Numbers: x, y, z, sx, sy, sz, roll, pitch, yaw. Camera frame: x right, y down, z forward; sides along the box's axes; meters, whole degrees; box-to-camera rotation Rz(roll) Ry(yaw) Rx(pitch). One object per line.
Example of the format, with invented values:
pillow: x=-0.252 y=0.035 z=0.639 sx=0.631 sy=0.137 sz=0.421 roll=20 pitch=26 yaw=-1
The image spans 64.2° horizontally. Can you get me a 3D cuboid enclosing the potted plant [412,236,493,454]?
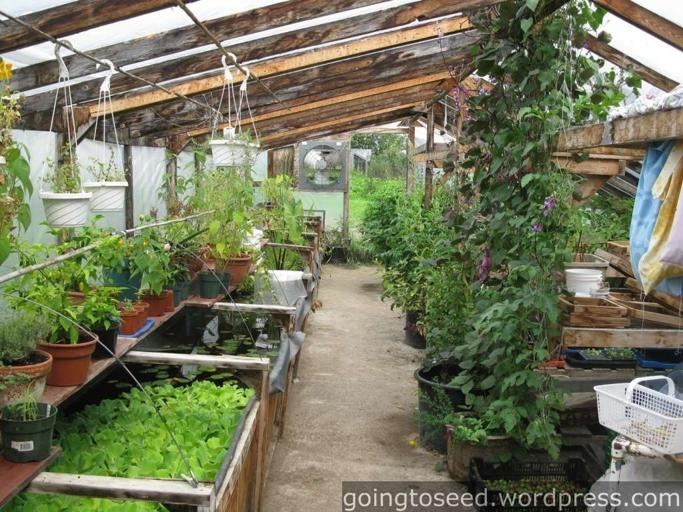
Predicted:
potted plant: x=0.993 y=0.761 z=4.970 sx=0.847 sy=1.803 sz=0.809 roll=-2 pitch=-3 yaw=-34

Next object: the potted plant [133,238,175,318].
potted plant: x=-1.407 y=0.145 z=4.100 sx=0.256 sy=0.606 sz=0.498 roll=-2 pitch=11 yaw=-17

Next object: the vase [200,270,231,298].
vase: x=-1.124 y=0.241 z=4.772 sx=0.283 sy=0.196 sz=0.279 roll=4 pitch=5 yaw=30

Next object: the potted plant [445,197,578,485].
potted plant: x=1.388 y=0.354 z=4.032 sx=0.586 sy=1.626 sz=0.678 roll=1 pitch=-33 yaw=39

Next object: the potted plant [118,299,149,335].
potted plant: x=-1.404 y=0.411 z=3.670 sx=0.201 sy=0.135 sz=0.192 roll=2 pitch=-2 yaw=-8
